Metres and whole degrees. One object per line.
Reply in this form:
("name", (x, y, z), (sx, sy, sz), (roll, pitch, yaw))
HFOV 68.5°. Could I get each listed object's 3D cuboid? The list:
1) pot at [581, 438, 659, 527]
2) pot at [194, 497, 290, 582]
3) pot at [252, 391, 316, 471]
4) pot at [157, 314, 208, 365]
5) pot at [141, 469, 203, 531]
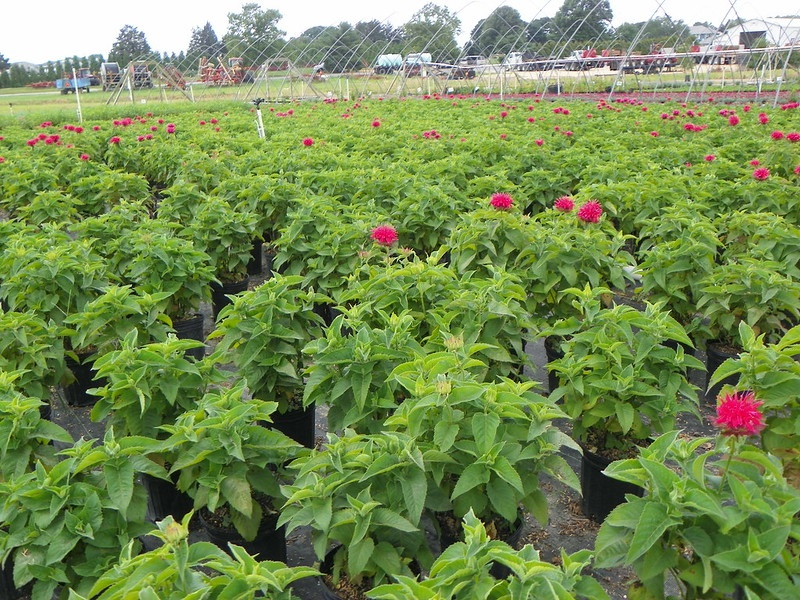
("pot", (1.424, 1.362, 4.211), (0.547, 0.547, 0.589), (-2, 22, 1))
("pot", (-1.026, 1.627, 3.886), (0.543, 0.399, 0.420), (-6, 22, -13))
("pot", (-0.914, 1.062, 4.839), (0.489, 0.467, 0.473), (0, 18, 0))
("pot", (-1.878, 0.339, 5.065), (0.343, 0.476, 0.371), (0, 20, 0))
("pot", (-1.729, 1.479, 4.436), (0.458, 0.393, 0.411), (15, 50, -25))
